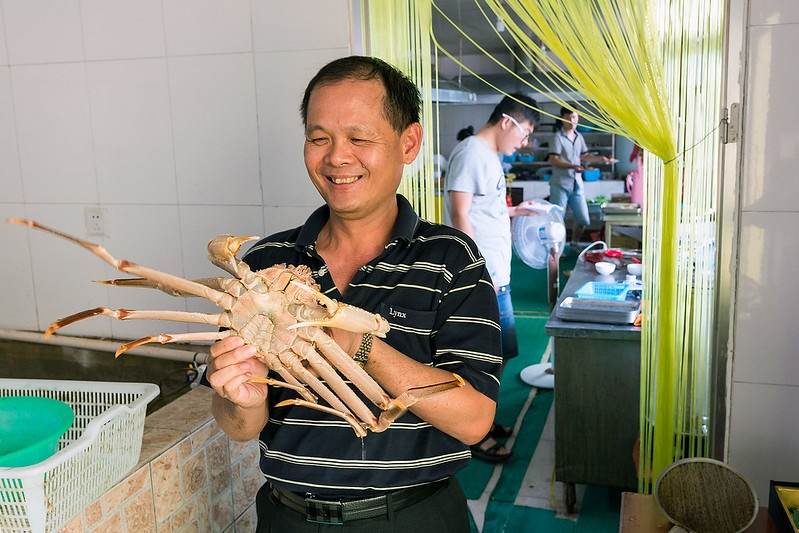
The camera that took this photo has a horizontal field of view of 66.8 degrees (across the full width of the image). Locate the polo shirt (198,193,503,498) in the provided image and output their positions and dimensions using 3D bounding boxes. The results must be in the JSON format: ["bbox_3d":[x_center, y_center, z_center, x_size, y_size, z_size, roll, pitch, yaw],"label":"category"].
[{"bbox_3d":[-0.049,0.287,1.621,0.795,0.830,0.237,21,6,22],"label":"polo shirt"}]

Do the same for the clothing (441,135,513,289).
[{"bbox_3d":[0.469,-0.270,3.443,0.348,0.822,0.585,2,-2,26],"label":"clothing"}]

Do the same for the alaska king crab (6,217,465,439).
[{"bbox_3d":[-0.287,0.159,1.436,0.841,0.466,0.242,0,3,-5],"label":"alaska king crab"}]

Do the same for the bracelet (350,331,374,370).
[{"bbox_3d":[-0.076,0.201,1.458,0.028,0.057,0.075,24,44,-5],"label":"bracelet"}]

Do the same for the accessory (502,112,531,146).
[{"bbox_3d":[0.620,-0.792,3.366,0.158,0.047,0.155,16,37,-57],"label":"accessory"}]
